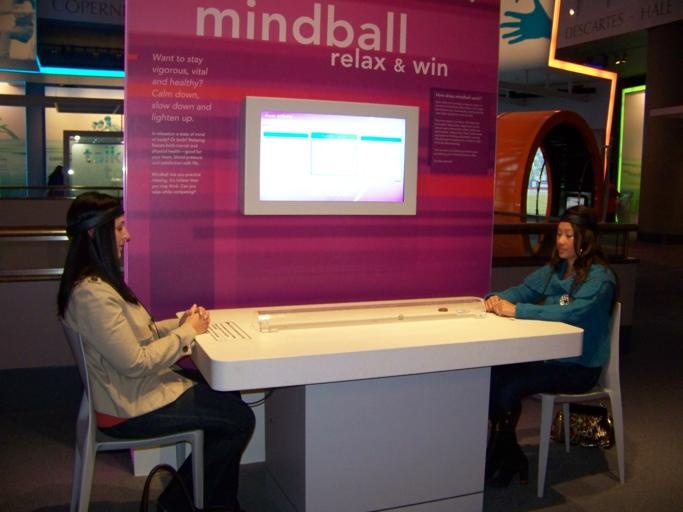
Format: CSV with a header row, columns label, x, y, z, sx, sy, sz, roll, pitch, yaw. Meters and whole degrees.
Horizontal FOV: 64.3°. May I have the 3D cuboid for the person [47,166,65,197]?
label,x,y,z,sx,sy,sz,roll,pitch,yaw
person,-4.251,-1.154,8.135,0.237,0.446,1.382,-3,9,-28

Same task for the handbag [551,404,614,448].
label,x,y,z,sx,sy,sz,roll,pitch,yaw
handbag,1.520,1.055,3.421,0.300,0.237,0.316,1,0,-7

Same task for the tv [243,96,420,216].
label,x,y,z,sx,sy,sz,roll,pitch,yaw
tv,-0.033,-0.511,2.817,0.929,0.569,0.054,-2,8,-18
